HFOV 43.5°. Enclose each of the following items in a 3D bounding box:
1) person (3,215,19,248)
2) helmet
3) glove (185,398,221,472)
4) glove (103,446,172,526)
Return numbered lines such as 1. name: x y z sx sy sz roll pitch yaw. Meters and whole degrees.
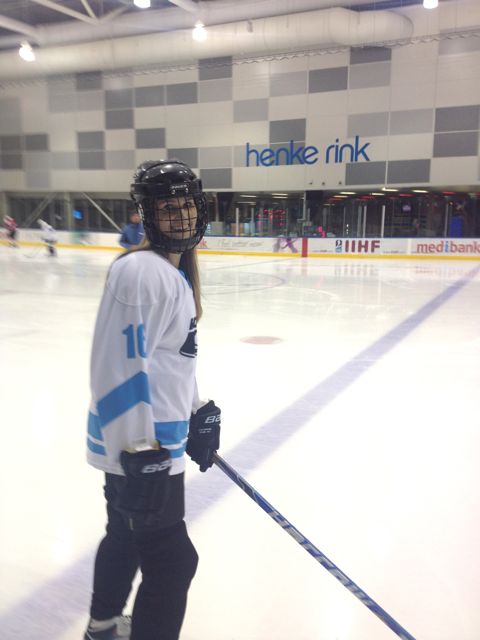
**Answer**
1. person: -6.947 -2.665 18.253 0.332 0.921 3.198 -1 8 -21
2. helmet: -0.159 -0.235 1.259 0.166 0.177 0.203 -10 22 -30
3. glove: -0.079 0.255 1.361 0.064 0.137 0.114 8 2 1
4. glove: -0.172 0.296 1.064 0.090 0.147 0.042 1 9 -6
